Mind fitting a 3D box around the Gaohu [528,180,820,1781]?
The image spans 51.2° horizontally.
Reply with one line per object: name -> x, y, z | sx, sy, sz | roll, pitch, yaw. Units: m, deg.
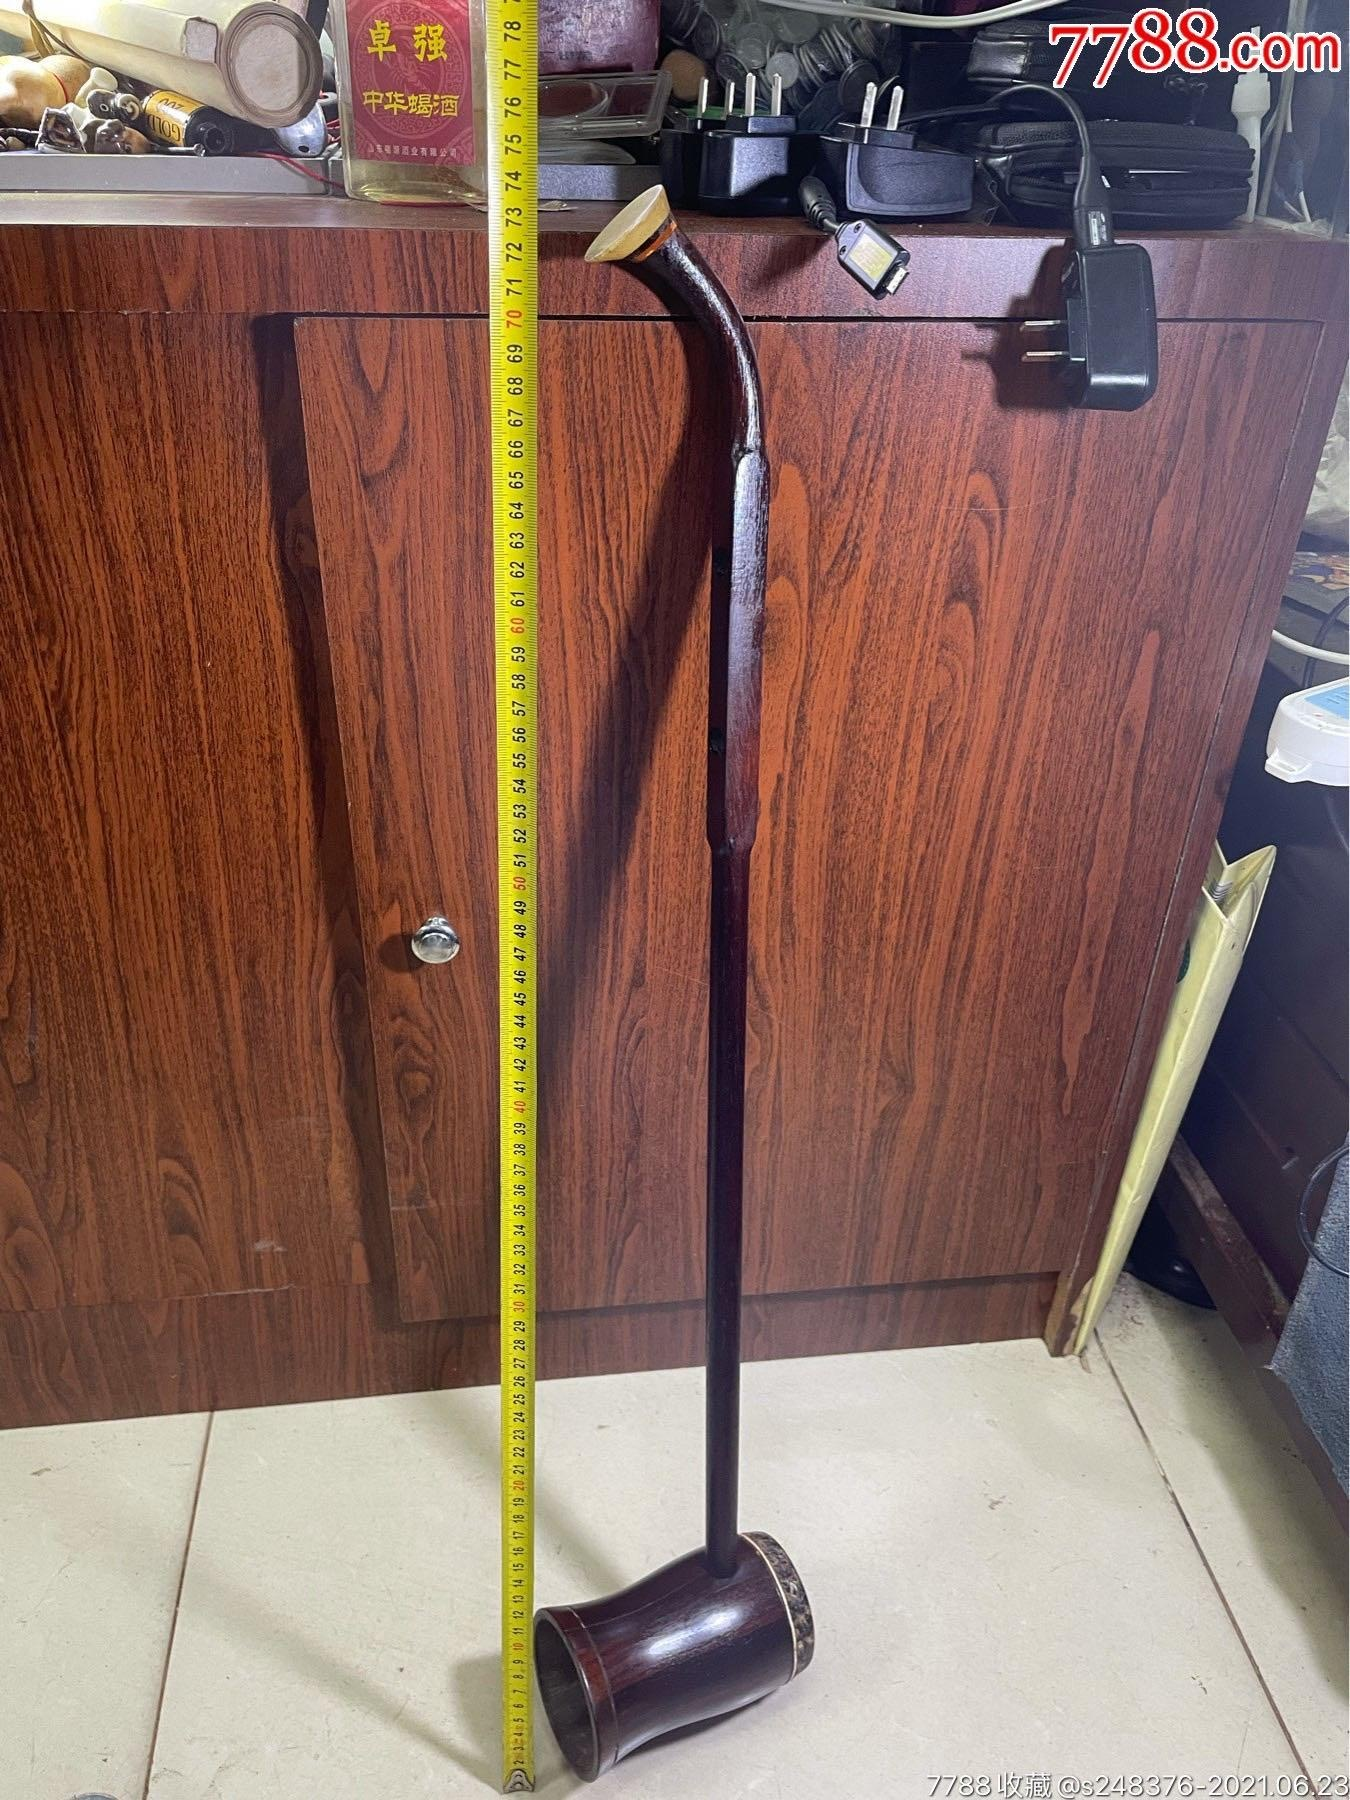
Gaohu -> -0.013, 0.063, 0.925 | 0.200, 1.010, 0.108 | -1, 2, -16

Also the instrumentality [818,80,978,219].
instrumentality -> 0.125, -0.430, 0.814 | 0.115, 0.065, 0.070 | -18, 39, -31

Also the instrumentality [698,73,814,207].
instrumentality -> 0.054, -0.443, 0.833 | 0.069, 0.072, 0.046 | -5, 30, -12

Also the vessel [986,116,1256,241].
vessel -> 0.269, -0.435, 0.844 | 0.112, 0.046, 0.096 | 4, 40, -2
